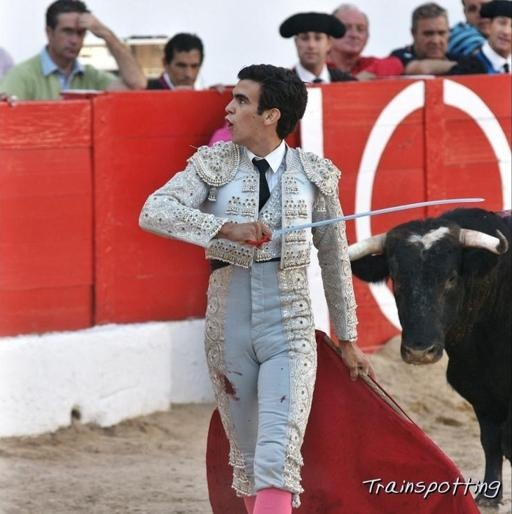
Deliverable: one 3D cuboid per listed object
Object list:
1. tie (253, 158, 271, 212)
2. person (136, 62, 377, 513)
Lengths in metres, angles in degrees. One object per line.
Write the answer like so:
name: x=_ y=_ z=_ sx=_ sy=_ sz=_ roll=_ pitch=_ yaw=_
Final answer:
tie: x=0.025 y=-0.261 z=4.209 sx=0.098 sy=0.153 sz=0.041 roll=1 pitch=-3 yaw=-2
person: x=0.039 y=0.129 z=4.246 sx=0.839 sy=1.590 sz=0.417 roll=-3 pitch=4 yaw=-44
